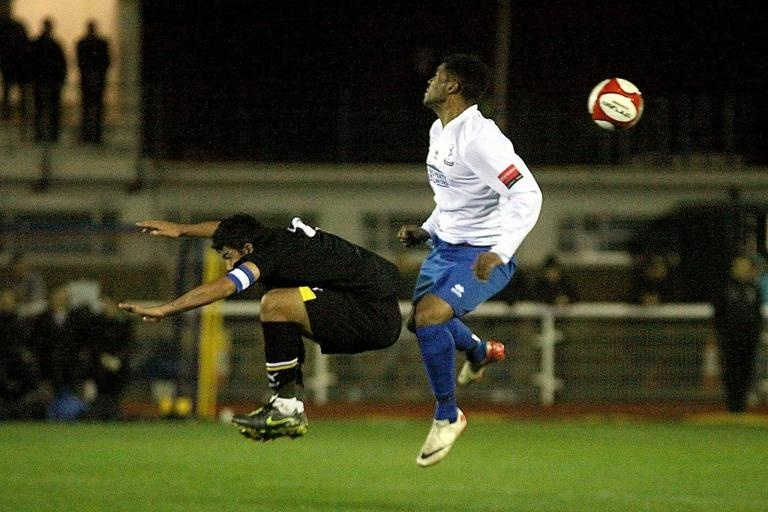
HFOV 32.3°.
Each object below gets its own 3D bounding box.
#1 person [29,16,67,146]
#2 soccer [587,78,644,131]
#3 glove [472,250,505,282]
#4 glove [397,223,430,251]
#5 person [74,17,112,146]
[{"bbox_3d":[-3.962,-2.090,15.692,0.437,1.434,0.273,-2,9,-5],"label":"person"},{"bbox_3d":[2.418,-1.576,13.854,0.657,0.603,0.635,16,7,5],"label":"soccer"},{"bbox_3d":[1.000,0.112,13.003,0.244,0.299,0.133,14,-14,9],"label":"glove"},{"bbox_3d":[0.317,-0.202,13.877,0.221,0.128,0.287,5,-6,37],"label":"glove"},{"bbox_3d":[-3.442,-2.056,15.664,0.329,1.436,0.371,-6,10,-30],"label":"person"}]
